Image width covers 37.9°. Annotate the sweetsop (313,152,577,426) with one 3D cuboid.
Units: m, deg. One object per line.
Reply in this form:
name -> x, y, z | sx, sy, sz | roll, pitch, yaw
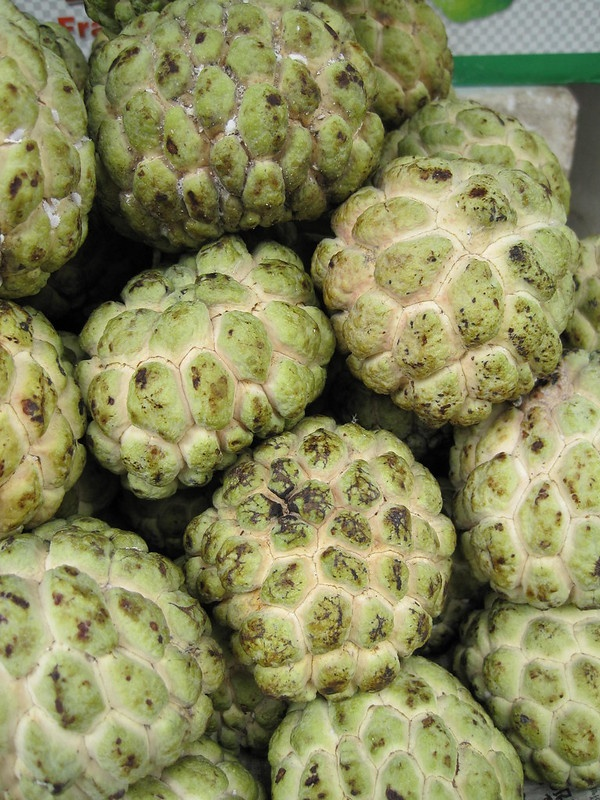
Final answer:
sweetsop -> 0.230, -0.172, 1.506 | 0.439, 0.326, 0.415 | -5, 81, -10
